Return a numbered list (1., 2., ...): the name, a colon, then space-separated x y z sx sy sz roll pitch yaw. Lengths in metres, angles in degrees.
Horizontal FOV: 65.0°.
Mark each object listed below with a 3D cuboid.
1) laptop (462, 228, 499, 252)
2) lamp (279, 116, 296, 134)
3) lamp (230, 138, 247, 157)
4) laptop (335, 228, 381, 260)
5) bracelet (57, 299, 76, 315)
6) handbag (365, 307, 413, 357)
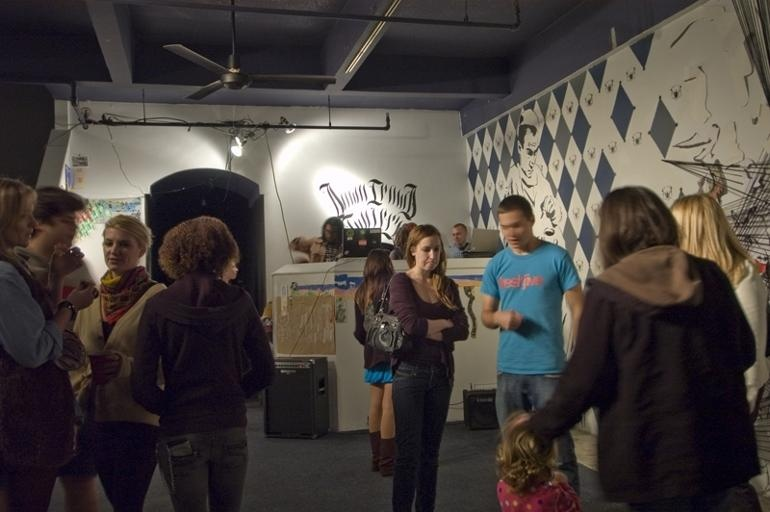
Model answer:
1. laptop: 1.184 -0.178 7.601 0.418 0.294 0.278 1 -2 -12
2. lamp: -1.503 -2.045 9.227 0.274 0.293 0.569 0 -1 -9
3. lamp: -2.270 -1.668 9.246 0.204 0.270 0.329 0 -2 -15
4. laptop: -0.298 -0.129 6.849 0.465 0.429 0.106 1 7 7
5. bracelet: -1.628 0.269 3.090 0.075 0.074 0.054 1 1 27
6. handbag: -0.021 0.511 3.975 0.153 0.270 0.414 0 -2 -27
